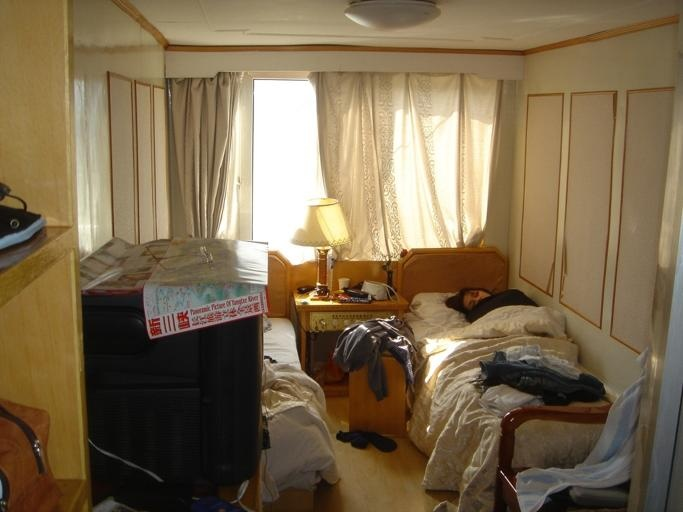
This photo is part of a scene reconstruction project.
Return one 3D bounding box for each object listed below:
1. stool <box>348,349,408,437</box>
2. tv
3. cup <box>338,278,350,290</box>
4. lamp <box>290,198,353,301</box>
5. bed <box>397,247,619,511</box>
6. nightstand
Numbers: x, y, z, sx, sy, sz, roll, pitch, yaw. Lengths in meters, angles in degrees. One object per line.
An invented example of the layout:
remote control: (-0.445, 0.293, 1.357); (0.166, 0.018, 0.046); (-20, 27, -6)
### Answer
stool: (0.232, 0.954, 4.135); (0.471, 0.765, 0.512); (1, 10, 1)
tv: (-0.381, 0.324, 1.552); (0.463, 0.502, 0.489); (2, 12, 2)
cup: (0.013, 0.236, 4.528); (0.079, 0.077, 0.088); (2, 0, 37)
lamp: (-0.141, -0.069, 4.379); (0.382, 0.765, 0.479); (5, 11, 29)
bed: (0.989, 0.733, 3.487); (0.930, 0.993, 1.550); (-1, 24, -3)
nightstand: (0.085, 0.567, 3.993); (0.804, 0.833, 0.646); (-1, 8, -9)
